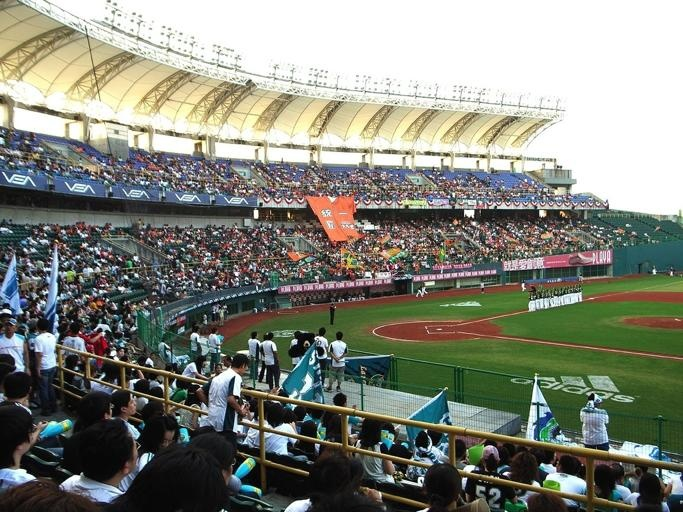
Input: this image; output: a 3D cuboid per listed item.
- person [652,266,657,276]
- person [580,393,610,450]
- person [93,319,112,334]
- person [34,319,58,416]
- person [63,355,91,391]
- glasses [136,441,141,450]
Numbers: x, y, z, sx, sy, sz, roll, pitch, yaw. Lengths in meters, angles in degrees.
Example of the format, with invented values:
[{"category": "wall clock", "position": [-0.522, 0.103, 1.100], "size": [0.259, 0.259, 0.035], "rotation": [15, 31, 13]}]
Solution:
[{"category": "person", "position": [33.522, 1.455, 82.233], "size": [0.509, 0.910, 1.028], "rotation": [4, -7, 21]}, {"category": "person", "position": [7.877, 5.416, 23.812], "size": [0.824, 2.242, 0.722], "rotation": [-5, 14, 14]}, {"category": "person", "position": [-9.055, 2.662, 28.820], "size": [0.630, 0.756, 0.451], "rotation": [3, 6, 12]}, {"category": "person", "position": [-8.495, 3.102, 21.593], "size": [0.890, 2.625, 0.966], "rotation": [1, 1, -5]}, {"category": "person", "position": [-7.626, 3.302, 21.979], "size": [0.753, 0.967, 2.108], "rotation": [9, -7, -19]}, {"category": "glasses", "position": [-4.572, 4.266, 17.206], "size": [0.169, 0.184, 0.212], "rotation": [-1, -19, -6]}]
